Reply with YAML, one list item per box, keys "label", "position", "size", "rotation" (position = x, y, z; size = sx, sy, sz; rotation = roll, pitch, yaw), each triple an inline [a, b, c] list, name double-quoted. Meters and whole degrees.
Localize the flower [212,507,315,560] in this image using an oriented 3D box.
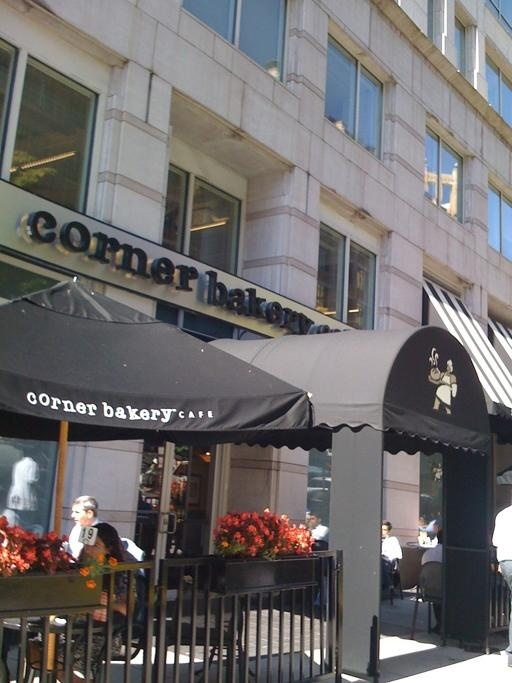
- label: "flower"
  position: [0.003, 1.554, 5.323]
  size: [0.503, 0.296, 0.522]
  rotation: [-7, -19, 35]
